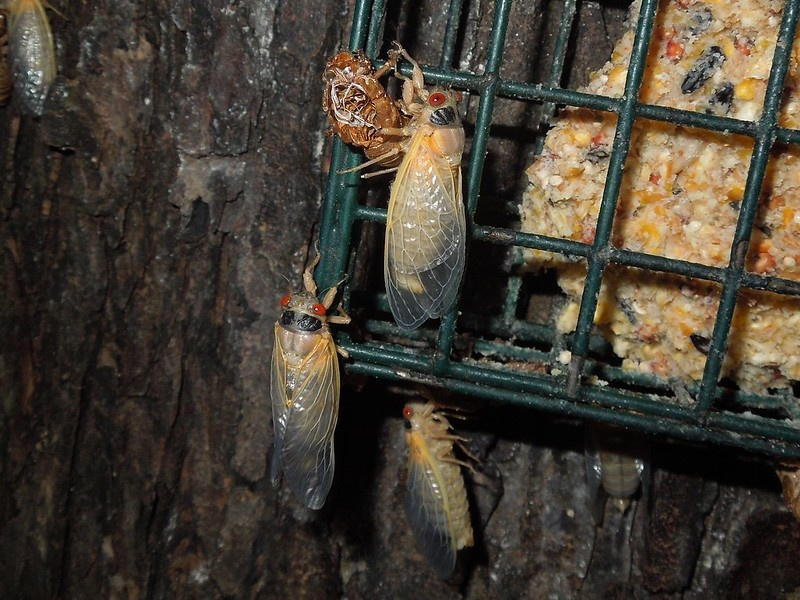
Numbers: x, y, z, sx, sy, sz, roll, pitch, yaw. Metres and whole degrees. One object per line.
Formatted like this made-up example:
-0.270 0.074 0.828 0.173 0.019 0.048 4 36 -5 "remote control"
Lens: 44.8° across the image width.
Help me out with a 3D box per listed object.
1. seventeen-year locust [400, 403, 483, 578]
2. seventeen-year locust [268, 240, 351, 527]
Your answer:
0.130 0.579 2.979 0.274 0.482 0.121 -11 -9 39 "seventeen-year locust"
-0.248 0.242 2.772 0.206 0.721 0.211 7 14 16 "seventeen-year locust"
